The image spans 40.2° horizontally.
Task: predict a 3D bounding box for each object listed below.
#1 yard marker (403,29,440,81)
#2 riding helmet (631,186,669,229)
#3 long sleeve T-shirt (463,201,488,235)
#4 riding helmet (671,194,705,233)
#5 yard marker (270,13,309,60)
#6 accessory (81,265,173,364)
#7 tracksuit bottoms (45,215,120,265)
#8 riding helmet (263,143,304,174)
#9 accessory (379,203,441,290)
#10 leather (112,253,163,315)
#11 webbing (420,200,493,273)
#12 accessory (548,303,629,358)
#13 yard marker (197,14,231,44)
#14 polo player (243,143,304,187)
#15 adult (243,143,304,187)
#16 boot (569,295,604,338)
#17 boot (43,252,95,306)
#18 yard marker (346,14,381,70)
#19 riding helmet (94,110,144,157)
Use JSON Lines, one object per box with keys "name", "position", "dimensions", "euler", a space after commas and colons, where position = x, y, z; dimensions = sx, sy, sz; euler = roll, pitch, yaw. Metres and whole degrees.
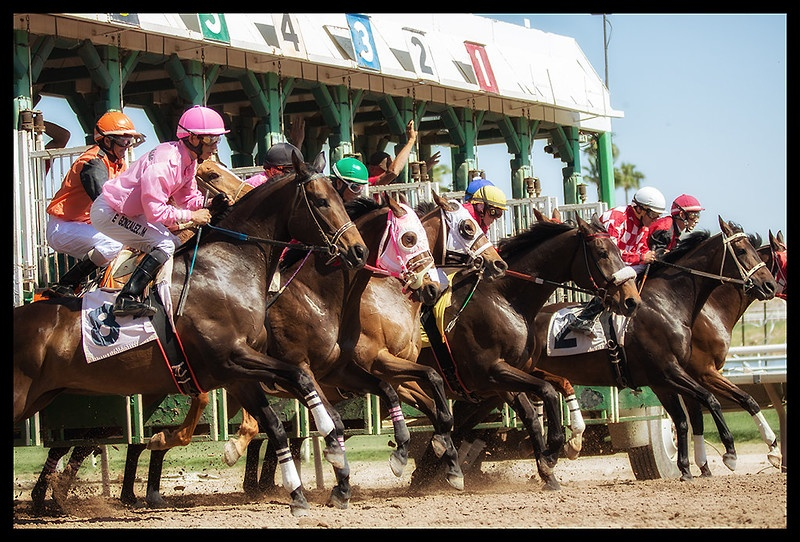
{"name": "yard marker", "position": [0.300, -3.371, 16.672], "dimensions": [0.238, 0.820, 0.588], "euler": [-6, -7, 31]}
{"name": "riding helmet", "position": [2.672, -0.678, 12.005], "dimensions": [0.349, 0.399, 0.281], "euler": [10, -4, 18]}
{"name": "long sleeve T-shirt", "position": [0.784, -0.555, 11.111], "dimensions": [0.180, 0.325, 0.238], "euler": [-35, 11, -2]}
{"name": "riding helmet", "position": [3.322, -0.704, 12.598], "dimensions": [0.333, 0.432, 0.376], "euler": [-8, 17, -40]}
{"name": "yard marker", "position": [-1.721, -3.234, 14.895], "dimensions": [0.445, 0.080, 0.788], "euler": [-2, -28, 23]}
{"name": "accessory", "position": [-2.191, 0.380, 8.785], "dimensions": [0.663, 0.508, 0.097], "euler": [-16, -10, 8]}
{"name": "tracksuit bottoms", "position": [-3.002, -0.215, 9.950], "dimensions": [0.517, 0.206, 0.635], "euler": [-14, -23, 40]}
{"name": "riding helmet", "position": [-1.121, -1.062, 10.285], "dimensions": [0.363, 0.315, 0.302], "euler": [19, 6, 8]}
{"name": "accessory", "position": [0.059, -0.182, 9.834], "dimensions": [0.538, 0.785, 0.309], "euler": [-1, -15, -26]}
{"name": "leather", "position": [-2.114, 0.094, 8.761], "dimensions": [0.385, 0.544, 0.126], "euler": [0, -7, -22]}
{"name": "webbing", "position": [0.551, -0.289, 10.449], "dimensions": [0.482, 0.667, 0.325], "euler": [29, 3, 13]}
{"name": "accessory", "position": [1.953, 0.580, 11.535], "dimensions": [0.623, 0.309, 0.896], "euler": [0, 22, 3]}
{"name": "yard marker", "position": [-2.414, -3.173, 14.027], "dimensions": [0.104, 0.400, 0.486], "euler": [-8, -8, 40]}
{"name": "polo player", "position": [-1.292, -1.074, 10.607], "dimensions": [0.603, 0.341, 0.373], "euler": [-12, -10, 27]}
{"name": "adult", "position": [-1.274, -1.085, 10.617], "dimensions": [0.592, 0.339, 0.366], "euler": [-11, -7, 26]}
{"name": "boot", "position": [1.928, 0.450, 11.320], "dimensions": [0.279, 0.161, 0.484], "euler": [10, 41, 28]}
{"name": "boot", "position": [-3.010, 0.051, 9.681], "dimensions": [0.409, 0.452, 0.226], "euler": [-5, -22, -13]}
{"name": "yard marker", "position": [-0.541, -3.388, 15.824], "dimensions": [0.208, 0.894, 0.602], "euler": [-6, -7, 31]}
{"name": "riding helmet", "position": [-2.554, -1.242, 9.780], "dimensions": [0.467, 0.429, 0.405], "euler": [16, 15, 27]}
